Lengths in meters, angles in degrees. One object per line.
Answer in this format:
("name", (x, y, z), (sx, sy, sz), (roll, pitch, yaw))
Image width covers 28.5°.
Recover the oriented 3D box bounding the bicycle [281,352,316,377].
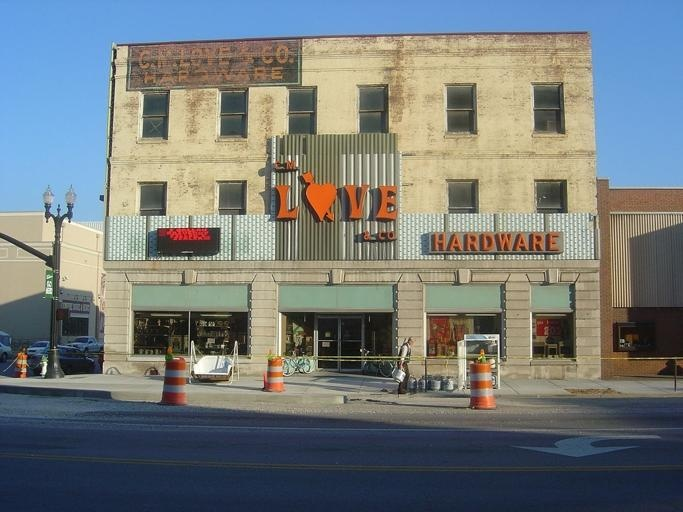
("bicycle", (-1.723, 4.736, 57.042), (1.667, 0.892, 0.777), (-2, -5, -10))
